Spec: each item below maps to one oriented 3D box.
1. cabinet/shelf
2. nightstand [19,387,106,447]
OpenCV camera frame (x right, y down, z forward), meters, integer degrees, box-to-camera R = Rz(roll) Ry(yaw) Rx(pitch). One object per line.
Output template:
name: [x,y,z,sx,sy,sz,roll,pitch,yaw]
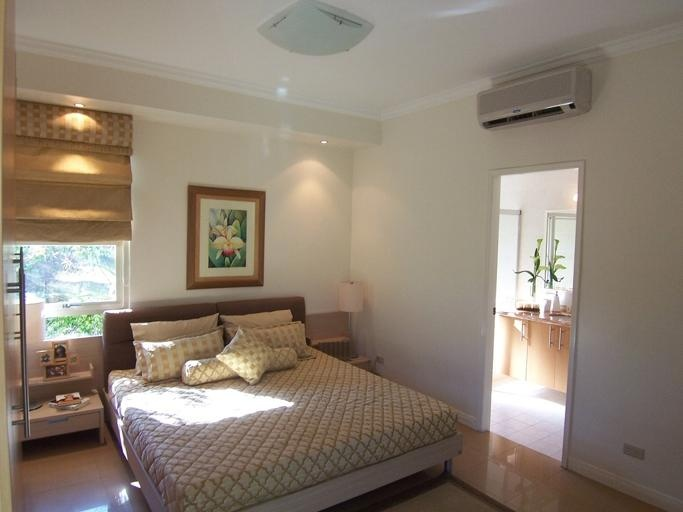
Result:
cabinet/shelf: [2.220,1.116,5.468,0.367,0.853,0.942,-2,4,-37]
nightstand: [-2.342,1.391,4.216,0.682,0.321,0.486,-5,13,-7]
